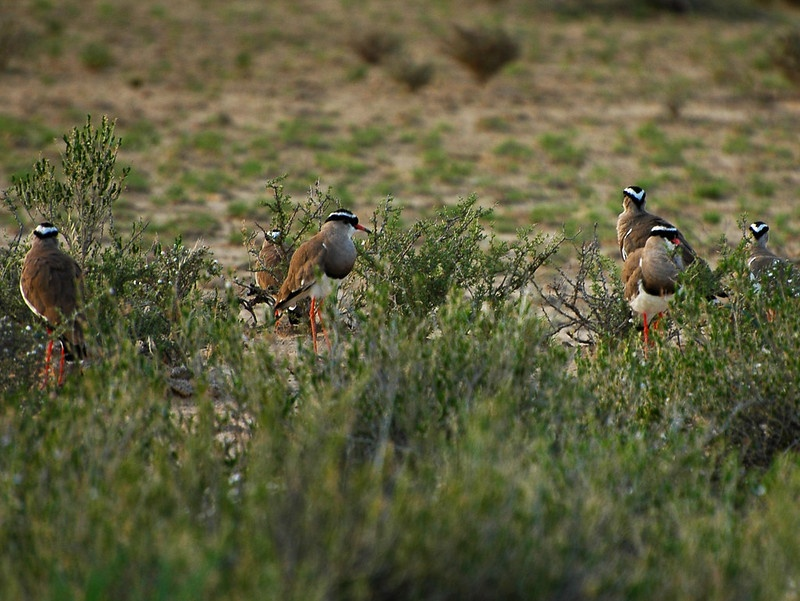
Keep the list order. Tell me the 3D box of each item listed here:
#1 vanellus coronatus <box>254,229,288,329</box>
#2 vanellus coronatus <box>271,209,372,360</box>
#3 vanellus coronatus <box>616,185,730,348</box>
[{"bbox_3d":[-1.398,-0.251,12.807,0.233,0.354,0.875,5,53,-8],"label":"vanellus coronatus"},{"bbox_3d":[-0.767,-0.253,11.913,1.223,1.857,0.868,-5,10,-15],"label":"vanellus coronatus"},{"bbox_3d":[2.969,-0.770,12.716,0.635,1.357,1.919,-16,27,-9],"label":"vanellus coronatus"}]
